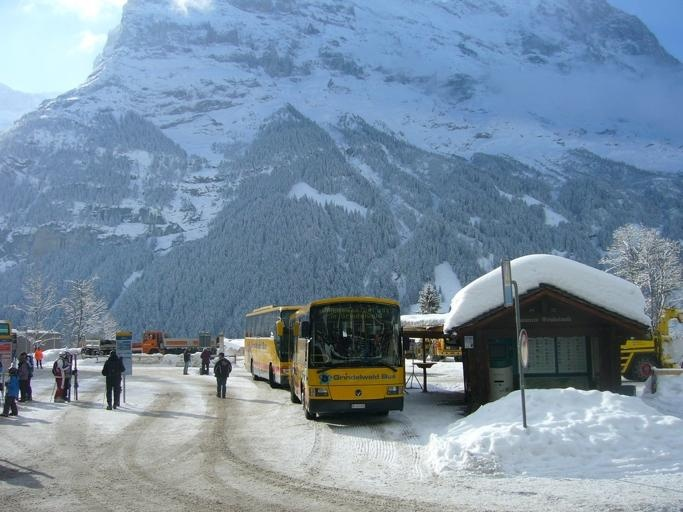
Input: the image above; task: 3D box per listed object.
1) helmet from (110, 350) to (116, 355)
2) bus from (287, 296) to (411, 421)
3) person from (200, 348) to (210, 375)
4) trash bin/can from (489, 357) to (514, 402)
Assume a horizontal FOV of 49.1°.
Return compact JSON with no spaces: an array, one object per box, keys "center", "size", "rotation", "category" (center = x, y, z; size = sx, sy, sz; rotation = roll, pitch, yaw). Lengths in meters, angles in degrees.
[{"center":[-9.756,4.111,32.198],"size":[0.193,0.239,0.516],"rotation":[3,-9,-16],"category":"helmet"},{"center":[0.345,4.095,30.281],"size":[4.430,4.826,2.818],"rotation":[-1,-8,6],"category":"bus"},{"center":[-8.865,6.856,49.164],"size":[0.534,1.615,4.017],"rotation":[2,-9,-10],"category":"person"},{"center":[6.370,4.899,29.932],"size":[0.960,1.131,1.917],"rotation":[-2,-48,3],"category":"trash bin/can"}]
